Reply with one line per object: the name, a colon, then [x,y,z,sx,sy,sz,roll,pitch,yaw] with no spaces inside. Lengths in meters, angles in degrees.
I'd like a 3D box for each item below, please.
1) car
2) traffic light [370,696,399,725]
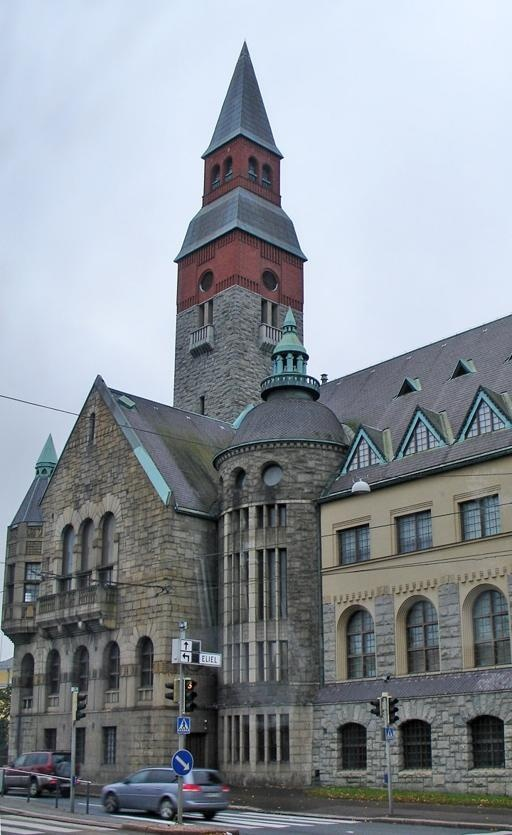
car: [-2.478,10.078,25.540,1.573,1.346,3.393,18,-29,-39]
traffic light: [3.769,8.518,27.646,0.627,0.861,1.144,-6,-23,12]
